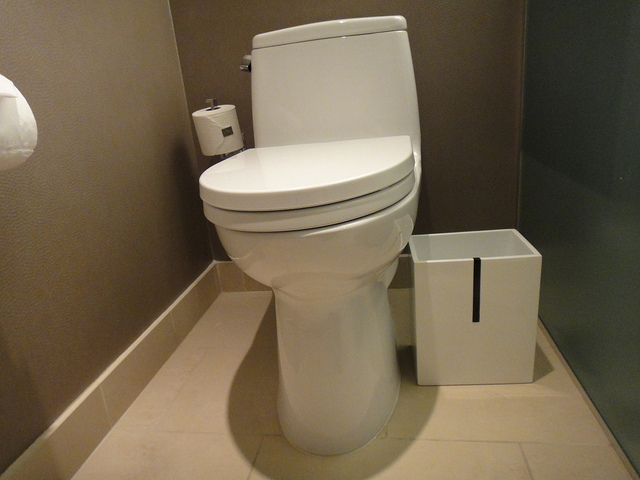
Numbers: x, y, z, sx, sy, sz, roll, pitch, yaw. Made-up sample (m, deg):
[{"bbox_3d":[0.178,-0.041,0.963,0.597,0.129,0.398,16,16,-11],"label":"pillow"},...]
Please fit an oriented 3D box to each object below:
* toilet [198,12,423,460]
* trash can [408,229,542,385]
[{"bbox_3d":[0.006,-0.046,1.318,0.480,0.947,0.629,1,20,10],"label":"toilet"},{"bbox_3d":[0.392,0.168,1.390,0.298,0.349,0.221,-1,20,6],"label":"trash can"}]
